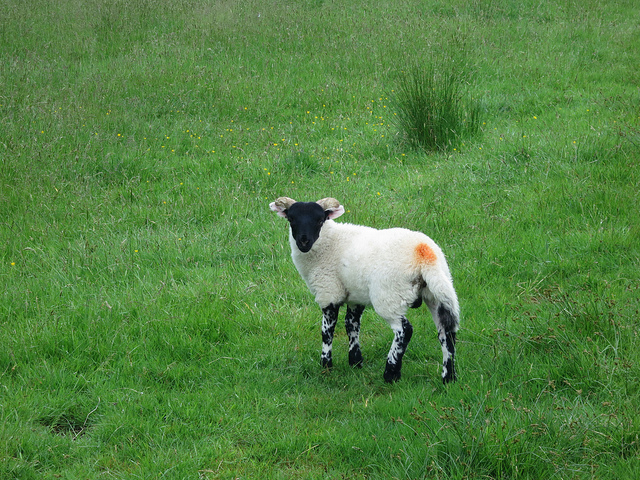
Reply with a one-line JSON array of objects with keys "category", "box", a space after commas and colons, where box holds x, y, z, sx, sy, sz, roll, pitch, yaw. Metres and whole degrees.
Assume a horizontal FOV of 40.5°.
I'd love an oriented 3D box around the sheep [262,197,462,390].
[{"category": "sheep", "box": [0.587, 0.717, 12.733, 2.914, 2.637, 1.110, 6, 6, 34]}]
